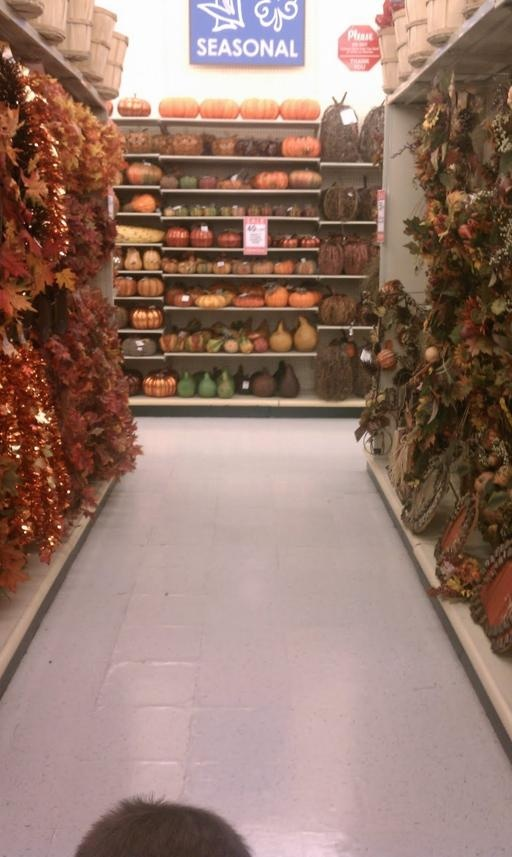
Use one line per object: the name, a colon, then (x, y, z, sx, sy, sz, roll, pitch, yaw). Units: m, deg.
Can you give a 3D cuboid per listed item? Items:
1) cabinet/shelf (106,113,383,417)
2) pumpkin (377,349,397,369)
cabinet/shelf: (-0.101, -1.526, 5.263, 2.604, 2.725, 0.970, 0, 5, -3)
pumpkin: (0.750, -0.398, 3.379, 0.096, 0.122, 0.107, 0, 3, 19)
